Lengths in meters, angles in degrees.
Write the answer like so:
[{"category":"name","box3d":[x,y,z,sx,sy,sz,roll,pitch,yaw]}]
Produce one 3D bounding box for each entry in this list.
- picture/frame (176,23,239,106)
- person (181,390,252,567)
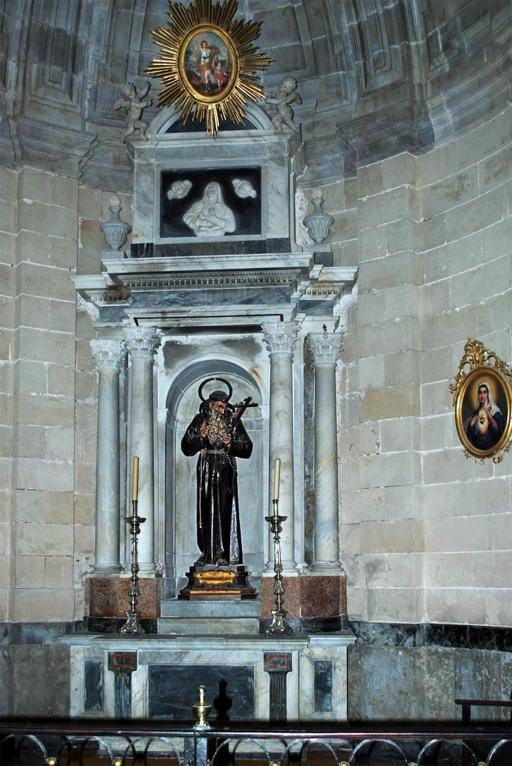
[{"category":"picture/frame","box3d":[-0.410,-2.774,13.001,0.679,0.921,0.070,-1,-12,-2]},{"category":"person","box3d":[-0.339,0.861,13.018,0.604,1.558,0.225,0,-12,-4]}]
